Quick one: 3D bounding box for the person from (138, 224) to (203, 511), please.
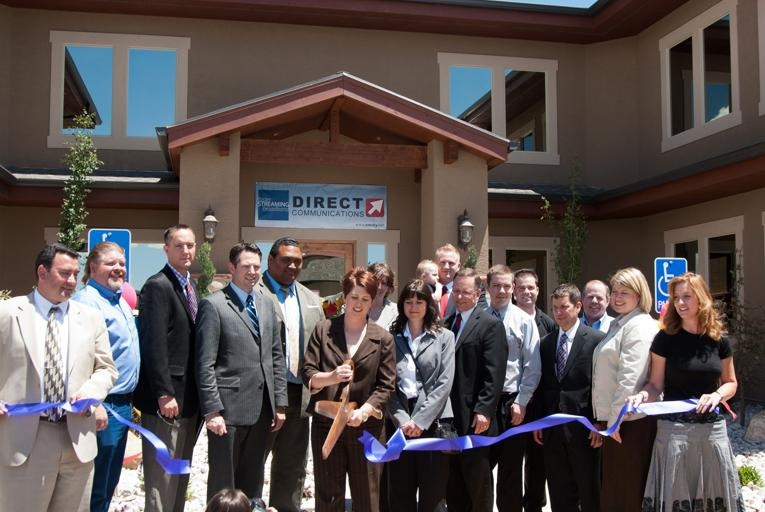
[{"bbox_3d":[-2.549,1.343,9.400,0.725,3.445,0.564,2,-1,-5],"label":"person"}]

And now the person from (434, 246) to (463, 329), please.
[{"bbox_3d":[0.871,0.572,11.014,0.476,1.410,0.438,3,-3,1],"label":"person"}]

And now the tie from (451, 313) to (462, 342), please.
[{"bbox_3d":[0.938,0.864,9.906,0.064,0.417,0.049,12,-9,24],"label":"tie"}]

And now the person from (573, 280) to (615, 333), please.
[{"bbox_3d":[2.836,0.692,10.574,0.721,0.789,0.399,0,10,12],"label":"person"}]

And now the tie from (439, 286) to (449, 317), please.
[{"bbox_3d":[0.852,0.634,10.899,0.076,0.569,0.059,3,-40,9],"label":"tie"}]
